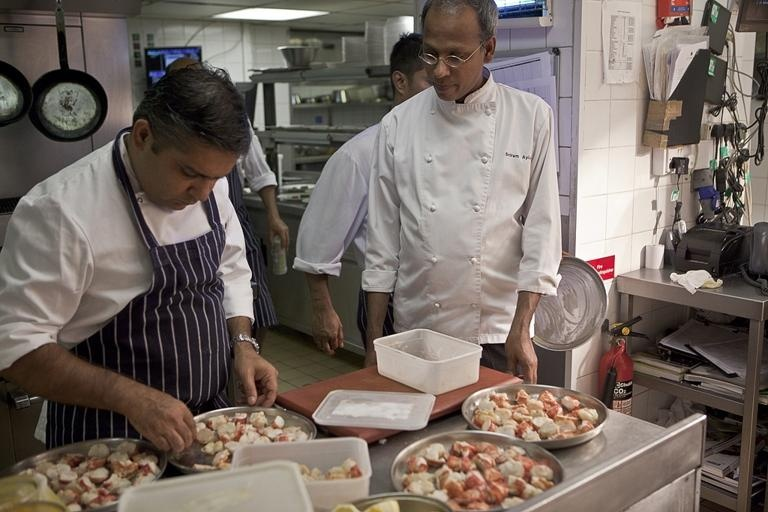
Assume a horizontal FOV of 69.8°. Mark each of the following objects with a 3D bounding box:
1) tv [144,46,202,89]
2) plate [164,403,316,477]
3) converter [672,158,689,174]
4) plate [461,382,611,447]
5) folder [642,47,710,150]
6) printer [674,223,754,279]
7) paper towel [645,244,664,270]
[{"bbox_3d":[-3.011,-2.698,7.953,0.772,0.686,0.090,-5,-11,-10],"label":"tv"},{"bbox_3d":[-0.376,0.510,1.536,0.367,0.065,0.295,-2,14,2],"label":"plate"},{"bbox_3d":[1.793,-0.548,3.344,0.161,0.103,0.042,-12,17,-34],"label":"converter"},{"bbox_3d":[0.416,0.387,1.627,0.288,0.147,0.398,11,13,41],"label":"plate"},{"bbox_3d":[1.703,-0.908,3.194,0.448,0.540,0.138,-8,15,-23],"label":"folder"},{"bbox_3d":[1.891,-0.059,3.238,0.381,0.306,0.298,-5,10,-34],"label":"printer"},{"bbox_3d":[1.615,0.005,3.375,0.133,0.148,0.124,-4,10,-25],"label":"paper towel"}]
